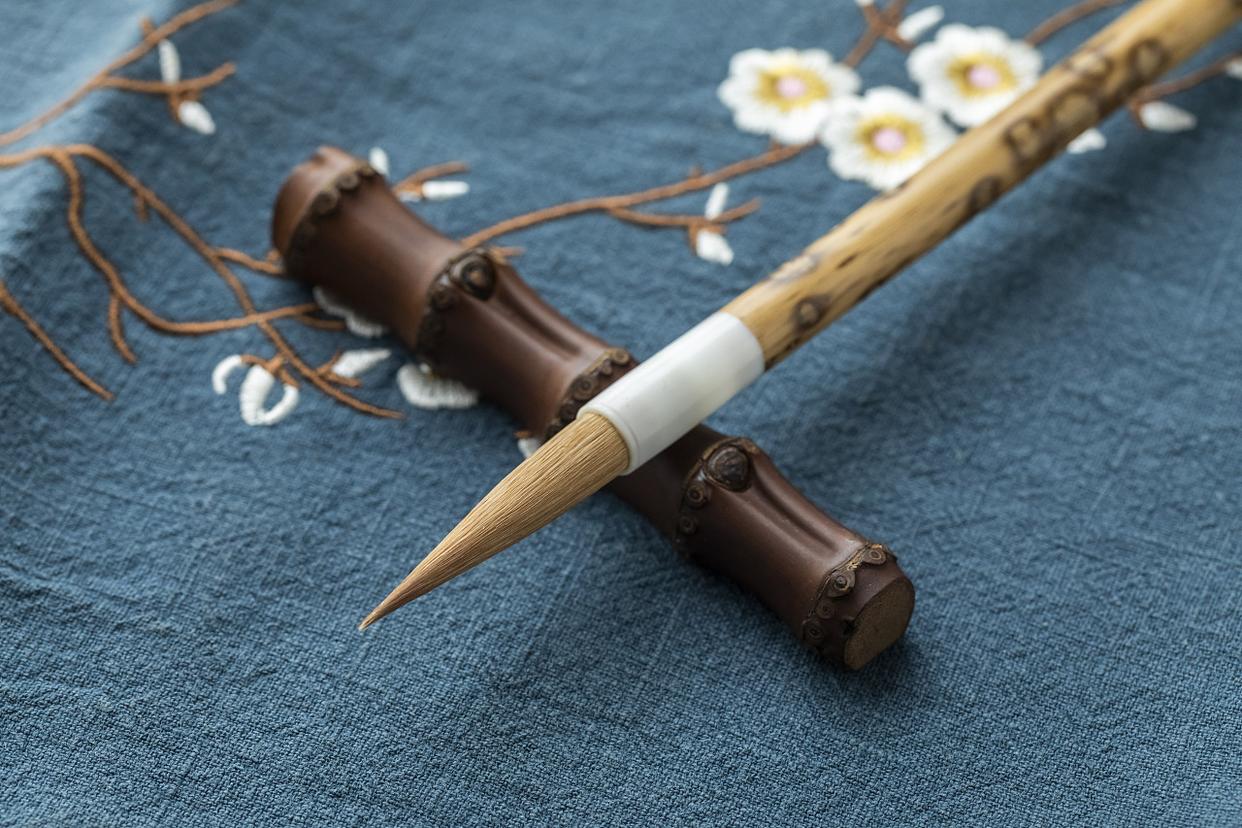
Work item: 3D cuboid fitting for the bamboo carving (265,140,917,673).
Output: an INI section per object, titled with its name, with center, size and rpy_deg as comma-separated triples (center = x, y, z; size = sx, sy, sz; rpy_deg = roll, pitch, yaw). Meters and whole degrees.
[bamboo carving]
center = -0.028, 0.011, 1.151
size = 0.561, 0.149, 0.126
rpy_deg = 33, 23, 15
